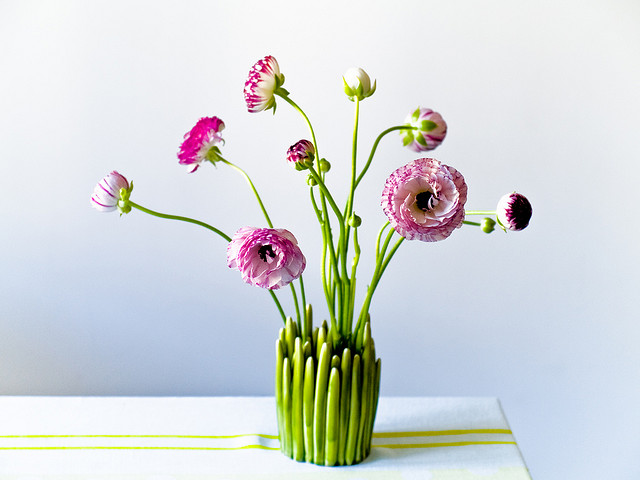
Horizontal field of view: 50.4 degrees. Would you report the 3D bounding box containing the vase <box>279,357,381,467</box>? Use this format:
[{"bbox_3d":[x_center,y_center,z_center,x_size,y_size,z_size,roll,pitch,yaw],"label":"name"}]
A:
[{"bbox_3d":[0.023,0.401,1.693,0.232,0.249,0.271,3,-96,-37],"label":"vase"}]

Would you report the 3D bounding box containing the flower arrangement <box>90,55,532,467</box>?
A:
[{"bbox_3d":[-0.007,0.092,1.670,0.728,0.820,0.930,9,-97,-33],"label":"flower arrangement"}]
